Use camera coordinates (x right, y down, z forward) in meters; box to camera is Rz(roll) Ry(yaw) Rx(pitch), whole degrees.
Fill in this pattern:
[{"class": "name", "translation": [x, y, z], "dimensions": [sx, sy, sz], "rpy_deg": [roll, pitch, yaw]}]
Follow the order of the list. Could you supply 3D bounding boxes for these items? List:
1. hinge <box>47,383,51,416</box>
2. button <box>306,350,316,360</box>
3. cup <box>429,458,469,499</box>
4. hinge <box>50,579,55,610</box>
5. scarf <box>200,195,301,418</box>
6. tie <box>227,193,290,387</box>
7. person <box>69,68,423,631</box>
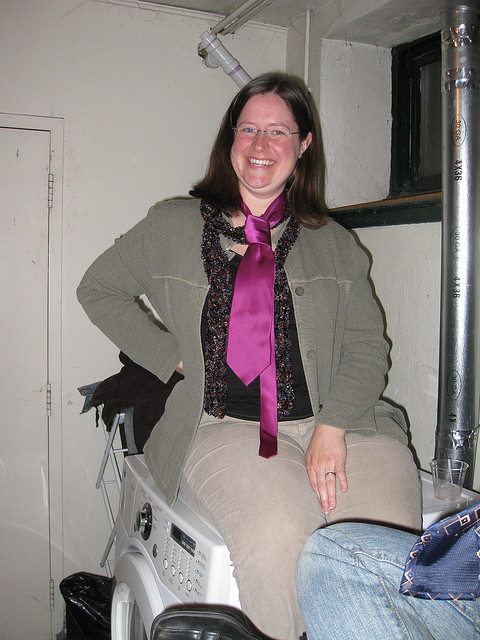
[{"class": "hinge", "translation": [-0.723, 0.304, 2.191], "dimensions": [0.012, 0.122, 0.009], "rpy_deg": [0, 4, -14]}, {"class": "button", "translation": [0.149, 0.074, 1.216], "dimensions": [0.016, 0.018, 0.006], "rpy_deg": [-15, 5, -15]}, {"class": "cup", "translation": [0.440, 0.335, 1.221], "dimensions": [0.074, 0.066, 0.079], "rpy_deg": [3, -17, 1]}, {"class": "hinge", "translation": [-0.729, 1.073, 2.243], "dimensions": [0.016, 0.122, 0.008], "rpy_deg": [0, 4, -19]}, {"class": "scarf", "translation": [0.017, -0.040, 1.272], "dimensions": [0.226, 0.473, 0.266], "rpy_deg": [1, 4, 3]}, {"class": "tie", "translation": [0.037, -0.046, 1.193], "dimensions": [0.111, 0.405, 0.045], "rpy_deg": [2, -15, -7]}, {"class": "person", "translation": [0.084, -0.030, 1.226], "dimensions": [0.573, 0.994, 0.695], "rpy_deg": [-2, 5, -40]}]
